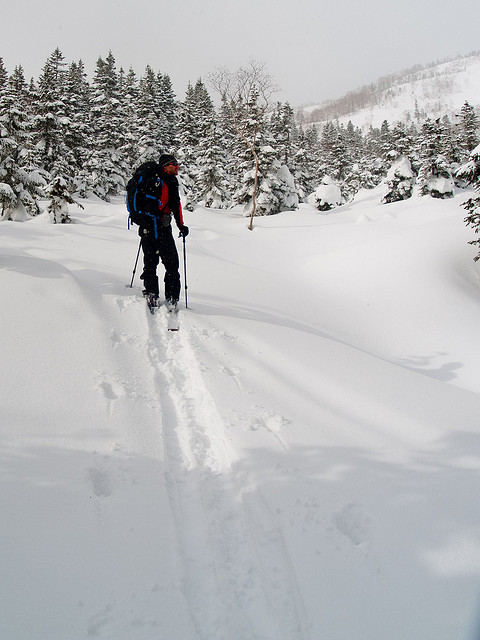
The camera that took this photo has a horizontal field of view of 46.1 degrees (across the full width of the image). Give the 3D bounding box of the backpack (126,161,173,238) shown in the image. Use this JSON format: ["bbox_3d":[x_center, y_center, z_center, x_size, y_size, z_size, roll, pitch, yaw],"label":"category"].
[{"bbox_3d":[-1.240,-1.586,7.520,0.501,0.973,0.469,-1,7,-37],"label":"backpack"}]
